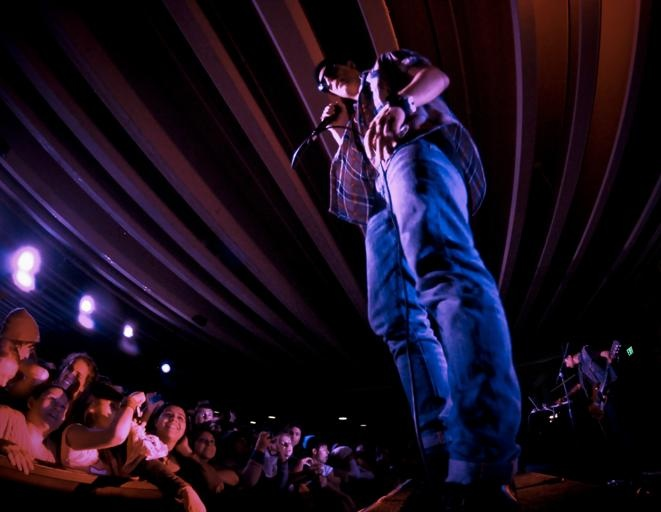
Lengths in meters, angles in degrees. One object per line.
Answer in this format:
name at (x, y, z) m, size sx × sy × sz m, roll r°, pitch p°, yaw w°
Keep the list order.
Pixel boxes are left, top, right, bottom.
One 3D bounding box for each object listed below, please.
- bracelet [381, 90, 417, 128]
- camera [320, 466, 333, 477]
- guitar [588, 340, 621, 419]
bracelet at (0.497, -1.040, 3.200) m, size 0.212 × 0.215 × 0.170 m, roll -34°, pitch -32°, yaw -4°
camera at (-0.072, 3.574, 7.509) m, size 0.160 × 0.120 × 0.166 m, roll -26°, pitch -33°, yaw 25°
guitar at (4.260, 1.938, 7.209) m, size 0.639 × 1.133 × 0.285 m, roll 39°, pitch -50°, yaw 14°
